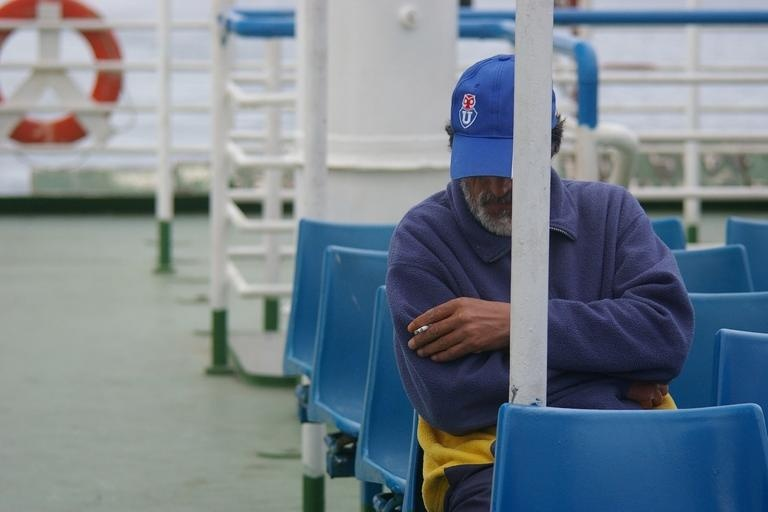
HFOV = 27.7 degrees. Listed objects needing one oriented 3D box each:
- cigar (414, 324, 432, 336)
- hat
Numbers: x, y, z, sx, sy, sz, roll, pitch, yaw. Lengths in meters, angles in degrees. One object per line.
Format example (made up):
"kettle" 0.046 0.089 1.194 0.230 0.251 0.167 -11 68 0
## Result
"cigar" 0.155 0.308 6.544 0.041 0.042 0.012 -35 -14 7
"hat" 0.445 -0.578 6.587 0.339 0.312 0.572 1 35 7
